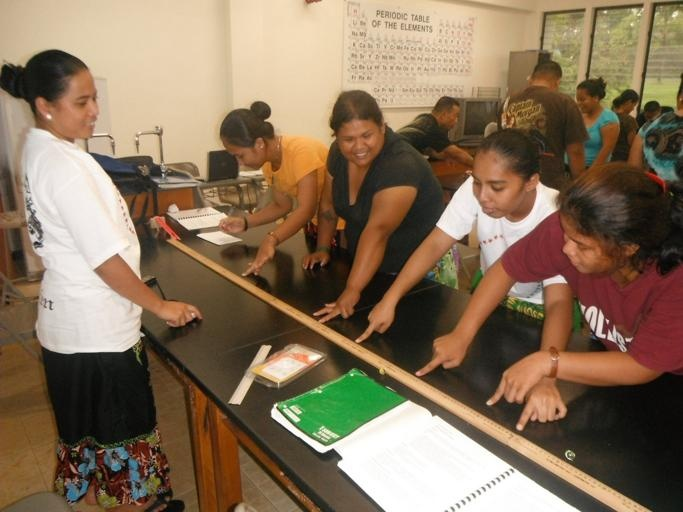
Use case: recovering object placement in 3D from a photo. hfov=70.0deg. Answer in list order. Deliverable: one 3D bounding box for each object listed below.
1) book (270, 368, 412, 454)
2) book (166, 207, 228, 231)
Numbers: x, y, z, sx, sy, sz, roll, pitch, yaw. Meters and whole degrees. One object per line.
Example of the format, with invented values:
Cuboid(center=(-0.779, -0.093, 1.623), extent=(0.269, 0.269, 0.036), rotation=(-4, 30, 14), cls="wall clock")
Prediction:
Cuboid(center=(-0.010, 0.439, 1.393), extent=(0.226, 0.043, 0.194), rotation=(-24, 33, -35), cls="book")
Cuboid(center=(-0.909, -0.240, 3.137), extent=(0.229, 0.048, 0.239), rotation=(-11, 23, -36), cls="book")
